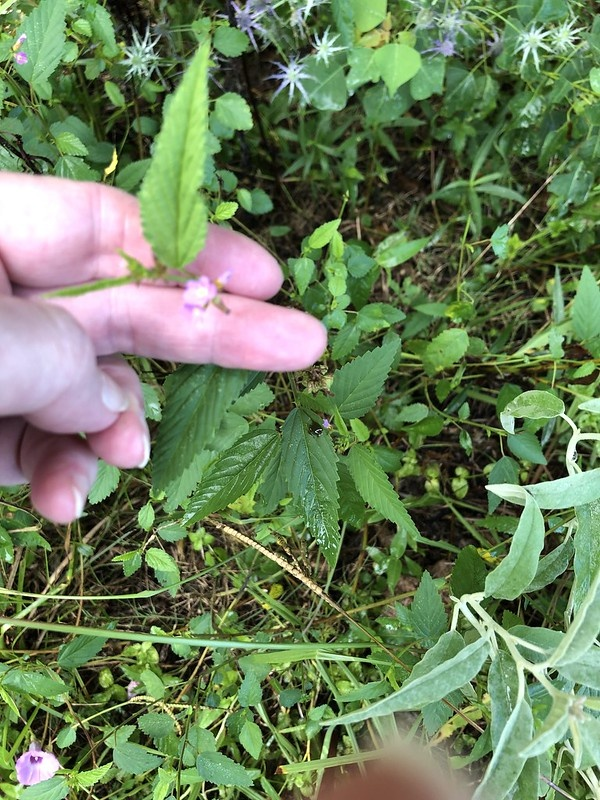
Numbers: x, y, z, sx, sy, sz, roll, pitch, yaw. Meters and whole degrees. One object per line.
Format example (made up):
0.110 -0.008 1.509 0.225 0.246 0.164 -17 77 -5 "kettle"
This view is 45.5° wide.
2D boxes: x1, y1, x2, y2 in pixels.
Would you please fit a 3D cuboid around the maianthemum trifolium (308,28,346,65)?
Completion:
0.091 -1.146 2.331 0.132 0.046 0.108 3 79 -1 "maianthemum trifolium"
